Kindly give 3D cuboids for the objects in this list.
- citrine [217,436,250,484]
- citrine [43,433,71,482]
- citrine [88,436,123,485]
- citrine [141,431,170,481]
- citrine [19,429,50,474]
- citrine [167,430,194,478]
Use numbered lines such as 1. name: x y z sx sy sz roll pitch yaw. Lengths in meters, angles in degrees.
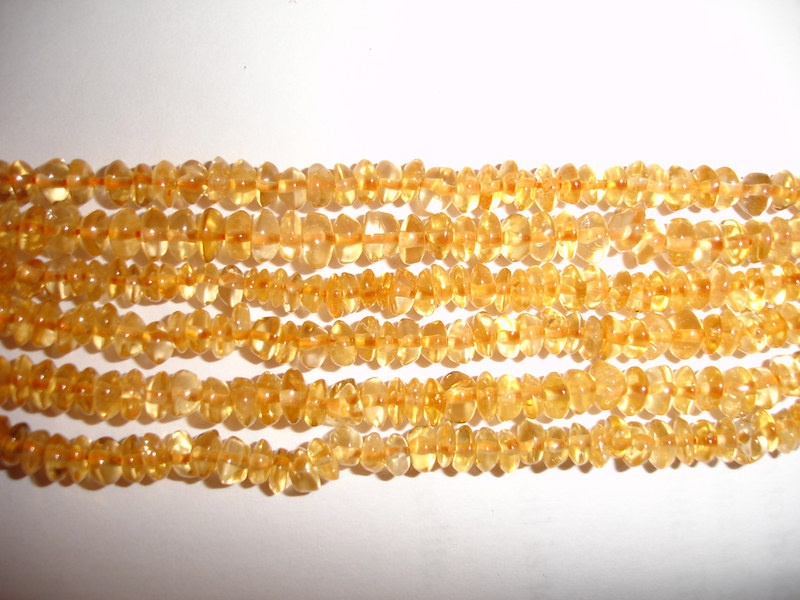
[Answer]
1. citrine: -0.307 0.298 1.569 0.050 0.085 0.020 1 2 21
2. citrine: -0.631 0.292 1.566 0.050 0.079 0.023 1 -4 -14
3. citrine: -0.549 0.300 1.599 0.068 0.098 0.073 1 5 -19
4. citrine: -0.454 0.296 1.598 0.051 0.079 0.070 5 -24 -10
5. citrine: -0.672 0.278 1.567 0.049 0.079 0.018 2 -6 -13
6. citrine: -0.404 0.285 1.572 0.038 0.085 0.025 2 -9 -17
